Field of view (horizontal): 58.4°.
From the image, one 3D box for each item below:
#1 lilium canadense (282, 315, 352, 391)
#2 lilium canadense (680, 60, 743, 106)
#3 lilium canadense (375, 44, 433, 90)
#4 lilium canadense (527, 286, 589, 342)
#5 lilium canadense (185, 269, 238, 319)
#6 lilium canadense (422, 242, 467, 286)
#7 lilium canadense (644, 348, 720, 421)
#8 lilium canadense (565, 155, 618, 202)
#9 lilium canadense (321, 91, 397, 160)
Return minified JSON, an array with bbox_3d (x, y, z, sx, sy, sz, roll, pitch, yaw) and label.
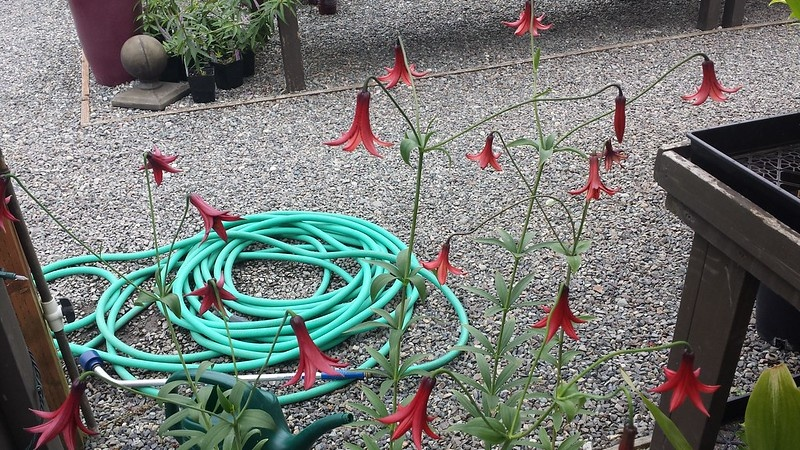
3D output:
[{"bbox_3d":[-0.441,0.555,3.287,0.266,0.322,0.266,-20,3,-21],"label":"lilium canadense"},{"bbox_3d":[1.558,-0.759,3.647,0.284,0.210,0.277,2,22,46],"label":"lilium canadense"},{"bbox_3d":[0.003,-0.865,3.682,0.268,0.207,0.275,-20,31,-14],"label":"lilium canadense"},{"bbox_3d":[0.747,0.410,3.493,0.257,0.280,0.274,0,26,-3],"label":"lilium canadense"},{"bbox_3d":[-0.996,0.359,3.781,0.256,0.237,0.231,9,8,7],"label":"lilium canadense"},{"bbox_3d":[0.219,0.154,3.736,0.183,0.214,0.158,11,7,-16],"label":"lilium canadense"},{"bbox_3d":[1.295,0.678,3.262,0.299,0.228,0.309,14,39,36],"label":"lilium canadense"},{"bbox_3d":[0.988,-0.252,3.649,0.260,0.262,0.258,-4,-2,42],"label":"lilium canadense"},{"bbox_3d":[-0.194,-0.525,3.463,0.280,0.314,0.298,6,8,10],"label":"lilium canadense"}]
